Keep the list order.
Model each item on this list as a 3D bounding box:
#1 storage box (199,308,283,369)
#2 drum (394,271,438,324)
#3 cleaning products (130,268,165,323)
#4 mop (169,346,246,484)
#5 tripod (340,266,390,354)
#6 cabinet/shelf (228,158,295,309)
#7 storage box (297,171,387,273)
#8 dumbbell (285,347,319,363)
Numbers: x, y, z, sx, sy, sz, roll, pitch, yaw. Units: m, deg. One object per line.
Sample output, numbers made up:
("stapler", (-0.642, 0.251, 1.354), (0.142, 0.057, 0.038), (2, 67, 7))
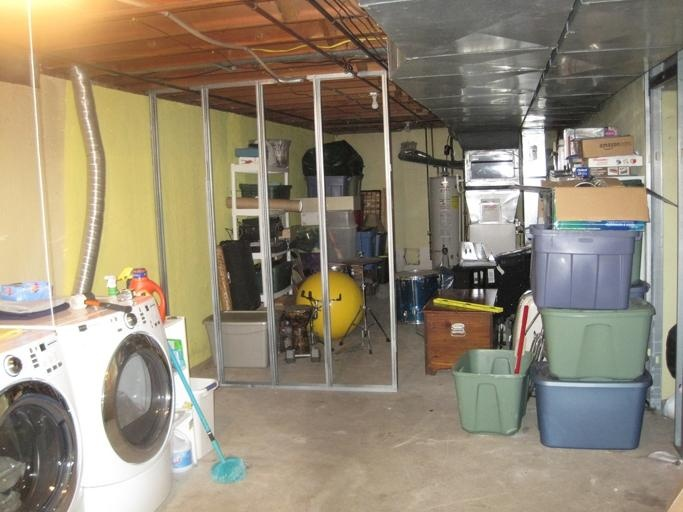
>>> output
("storage box", (-1.126, 0.922, 6.343), (0.826, 0.594, 0.656), (-1, 2, 14))
("drum", (1.012, 0.583, 7.721), (0.750, 0.643, 0.700), (-1, 0, -12))
("cleaning products", (-1.367, 0.239, 3.911), (0.264, 0.432, 0.305), (3, 9, -4))
("mop", (-0.968, 1.048, 3.975), (0.434, 1.017, 0.590), (-6, 11, -15))
("tripod", (0.262, 0.565, 7.721), (0.662, 1.009, 0.682), (0, 4, 16))
("cabinet/shelf", (-1.056, -0.277, 6.899), (0.589, 1.790, 1.025), (2, 8, 6))
("storage box", (-0.035, -0.493, 8.969), (1.179, 1.775, 2.051), (-2, 2, 17))
("dumbbell", (-0.459, 1.128, 6.321), (0.387, 0.149, 0.233), (-3, 9, -7))
